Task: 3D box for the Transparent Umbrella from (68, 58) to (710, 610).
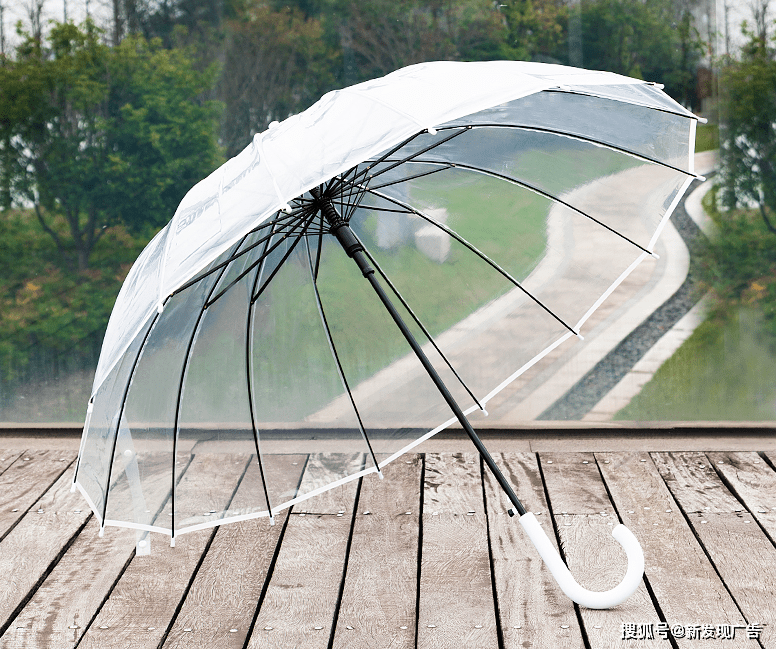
[{"bbox_3d":[-0.003,-0.018,2.361,1.815,1.390,0.967,-15,25,-26],"label":"Transparent Umbrella"}]
